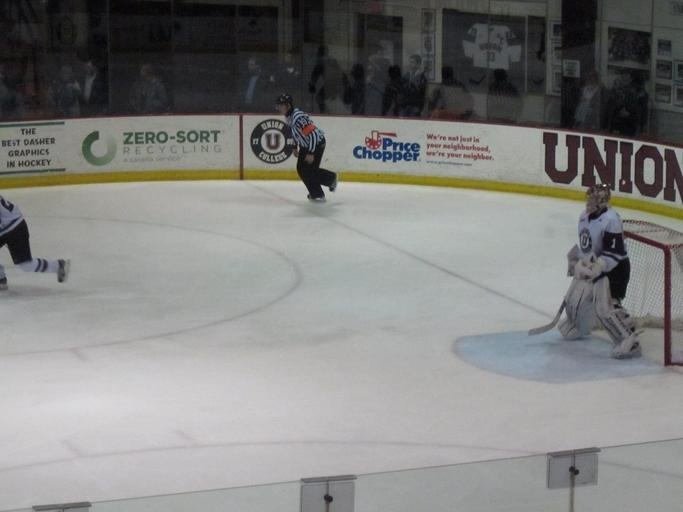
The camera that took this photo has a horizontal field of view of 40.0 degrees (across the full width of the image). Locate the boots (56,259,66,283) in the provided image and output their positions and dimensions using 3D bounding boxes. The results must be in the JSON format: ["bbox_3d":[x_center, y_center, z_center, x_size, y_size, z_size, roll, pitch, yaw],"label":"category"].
[{"bbox_3d":[-3.084,0.162,10.326,0.096,0.246,0.108,2,-6,-4],"label":"boots"}]

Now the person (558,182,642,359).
[{"bbox_3d":[2.392,0.197,8.554,0.782,1.344,0.442,9,16,26],"label":"person"}]

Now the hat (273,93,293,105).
[{"bbox_3d":[-0.890,-2.430,14.722,0.224,0.147,0.195,-3,15,-17],"label":"hat"}]

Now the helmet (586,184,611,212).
[{"bbox_3d":[2.329,-0.506,8.515,0.185,0.261,0.231,6,15,19],"label":"helmet"}]

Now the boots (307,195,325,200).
[{"bbox_3d":[-0.415,-0.938,15.372,0.293,0.114,0.088,-4,7,10],"label":"boots"}]

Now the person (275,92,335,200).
[{"bbox_3d":[-0.532,-1.649,15.166,0.891,1.525,0.476,-10,18,-36],"label":"person"}]
